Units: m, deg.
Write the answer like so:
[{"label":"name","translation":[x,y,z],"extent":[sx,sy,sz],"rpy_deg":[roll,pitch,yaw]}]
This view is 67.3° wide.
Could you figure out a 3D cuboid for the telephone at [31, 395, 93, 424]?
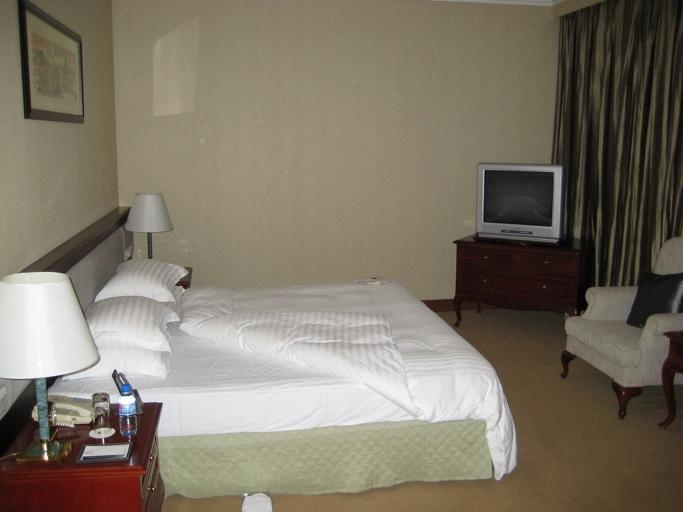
[{"label":"telephone","translation":[-1.381,0.763,2.541],"extent":[0.190,0.081,0.257],"rpy_deg":[4,2,-13]}]

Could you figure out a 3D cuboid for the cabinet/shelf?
[{"label":"cabinet/shelf","translation":[1.950,-0.086,5.665],"extent":[1.380,1.054,0.790],"rpy_deg":[2,9,18]}]

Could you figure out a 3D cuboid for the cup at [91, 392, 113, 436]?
[{"label":"cup","translation":[-1.202,0.796,2.600],"extent":[0.086,0.094,0.244],"rpy_deg":[2,26,-13]}]

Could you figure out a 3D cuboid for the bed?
[{"label":"bed","translation":[-0.294,0.717,3.358],"extent":[2.009,1.005,2.091],"rpy_deg":[-4,19,-11]}]

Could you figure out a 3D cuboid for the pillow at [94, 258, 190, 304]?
[{"label":"pillow","translation":[-1.495,0.189,3.883],"extent":[0.334,0.134,0.473],"rpy_deg":[7,13,-4]}]
